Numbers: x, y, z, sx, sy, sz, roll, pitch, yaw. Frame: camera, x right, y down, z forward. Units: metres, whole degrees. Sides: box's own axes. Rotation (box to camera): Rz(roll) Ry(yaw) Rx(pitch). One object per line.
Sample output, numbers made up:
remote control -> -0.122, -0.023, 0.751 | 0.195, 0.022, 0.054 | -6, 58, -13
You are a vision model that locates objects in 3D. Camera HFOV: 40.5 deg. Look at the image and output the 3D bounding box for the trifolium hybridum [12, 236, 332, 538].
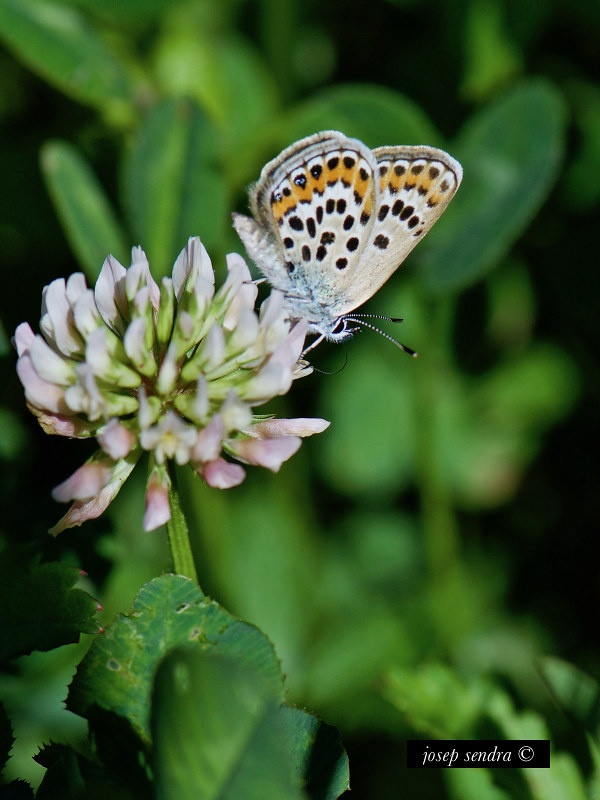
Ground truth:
trifolium hybridum -> -0.229, -0.070, 1.202 | 0.357, 0.372, 0.169 | -22, 76, 21
